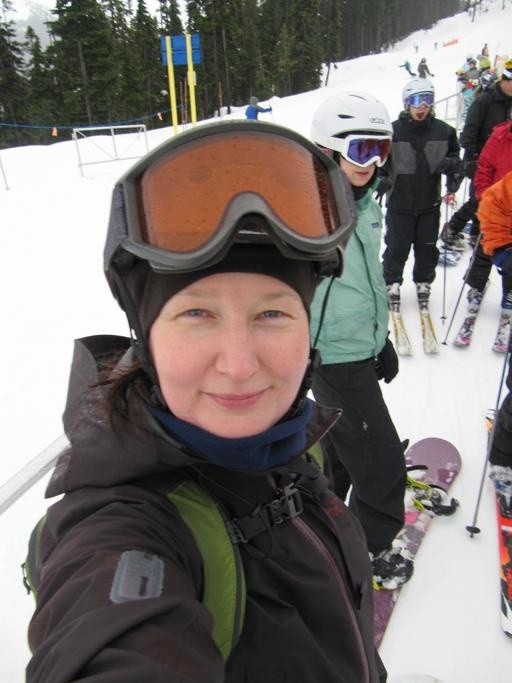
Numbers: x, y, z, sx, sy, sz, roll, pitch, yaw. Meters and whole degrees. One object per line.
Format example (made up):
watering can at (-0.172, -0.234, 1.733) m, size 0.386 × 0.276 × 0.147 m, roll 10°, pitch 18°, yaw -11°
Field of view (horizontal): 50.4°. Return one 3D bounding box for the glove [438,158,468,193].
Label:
glove at (1.980, -1.697, 5.526) m, size 0.299 × 0.384 × 0.174 m, roll 8°, pitch 19°, yaw 16°

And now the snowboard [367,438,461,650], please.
snowboard at (0.911, 1.043, 3.212) m, size 0.367 × 0.226 × 1.525 m, roll -1°, pitch 42°, yaw 37°

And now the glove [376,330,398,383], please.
glove at (0.661, 0.099, 2.726) m, size 0.073 × 0.207 × 0.153 m, roll 4°, pitch 13°, yaw -13°
